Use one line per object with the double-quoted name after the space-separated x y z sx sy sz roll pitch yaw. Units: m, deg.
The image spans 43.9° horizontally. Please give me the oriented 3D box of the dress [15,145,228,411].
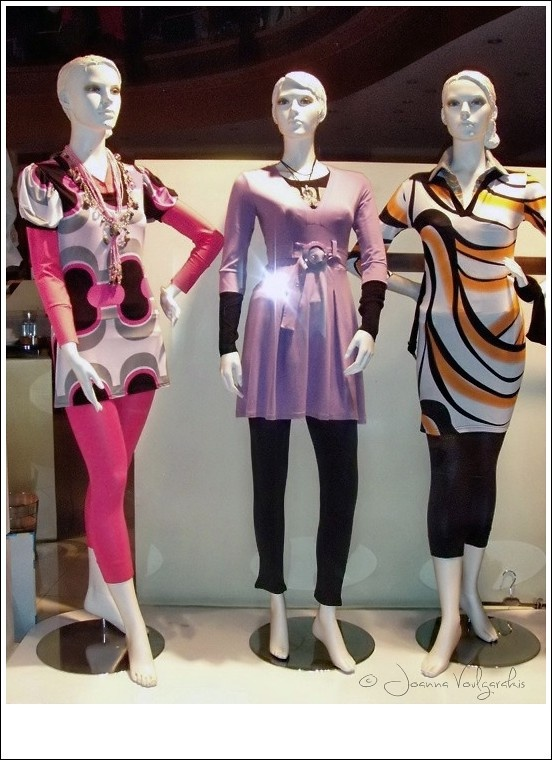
-0.453 -0.313 1.930 0.640 0.778 0.314 -11 19 -43 "dress"
